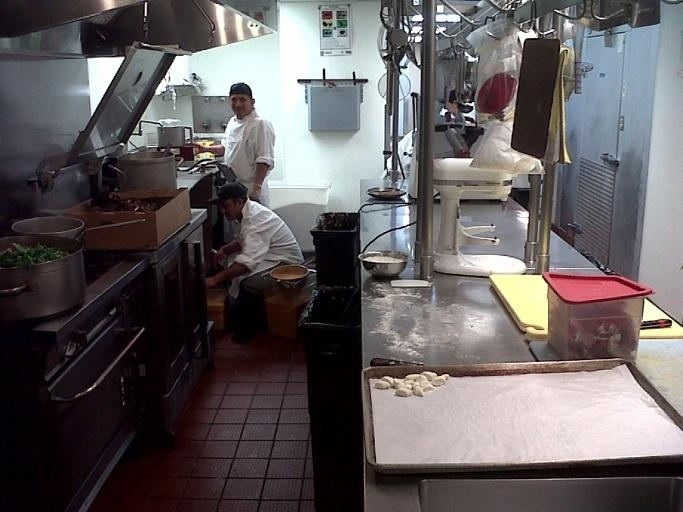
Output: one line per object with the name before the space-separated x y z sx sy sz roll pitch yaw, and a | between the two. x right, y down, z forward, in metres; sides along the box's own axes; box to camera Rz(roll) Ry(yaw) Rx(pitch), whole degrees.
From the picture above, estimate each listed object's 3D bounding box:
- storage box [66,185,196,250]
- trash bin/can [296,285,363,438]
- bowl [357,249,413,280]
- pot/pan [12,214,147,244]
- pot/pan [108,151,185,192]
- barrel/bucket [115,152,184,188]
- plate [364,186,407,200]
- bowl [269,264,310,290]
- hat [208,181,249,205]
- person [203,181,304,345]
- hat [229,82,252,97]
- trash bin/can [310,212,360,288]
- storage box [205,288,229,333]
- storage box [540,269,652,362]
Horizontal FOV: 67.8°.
storage box | -1.109 -0.125 2.526 0.425 0.162 0.420 0 26 4
trash bin/can | -0.049 0.405 2.251 0.268 0.392 0.622 -1 18 1
bowl | 0.181 0.029 2.223 0.221 0.082 0.253 -10 20 -24
pot/pan | -1.214 -0.131 2.239 0.367 0.060 0.192 -1 12 -14
pot/pan | -1.168 -0.468 2.992 0.365 0.253 0.271 -12 22 -25
barrel/bucket | -1.139 -0.475 3.031 0.279 0.261 0.372 8 13 32
plate | 0.336 -0.468 3.792 0.285 0.056 0.351 -5 19 -12
bowl | -0.378 0.148 3.721 0.296 0.091 0.322 -1 18 0
hat | -0.884 -0.482 3.899 0.249 0.125 0.162 -4 15 -15
person | -0.660 -0.043 4.451 1.099 1.508 0.981 -1 6 -3
hat | -0.915 -1.485 4.612 0.169 0.108 0.172 1 15 1
trash bin/can | -0.028 -0.028 2.751 0.251 0.318 0.463 -1 18 2
storage box | -0.924 0.414 3.743 0.191 0.170 0.354 2 16 2
storage box | 0.734 0.165 1.557 0.273 0.219 0.259 -2 14 -3
